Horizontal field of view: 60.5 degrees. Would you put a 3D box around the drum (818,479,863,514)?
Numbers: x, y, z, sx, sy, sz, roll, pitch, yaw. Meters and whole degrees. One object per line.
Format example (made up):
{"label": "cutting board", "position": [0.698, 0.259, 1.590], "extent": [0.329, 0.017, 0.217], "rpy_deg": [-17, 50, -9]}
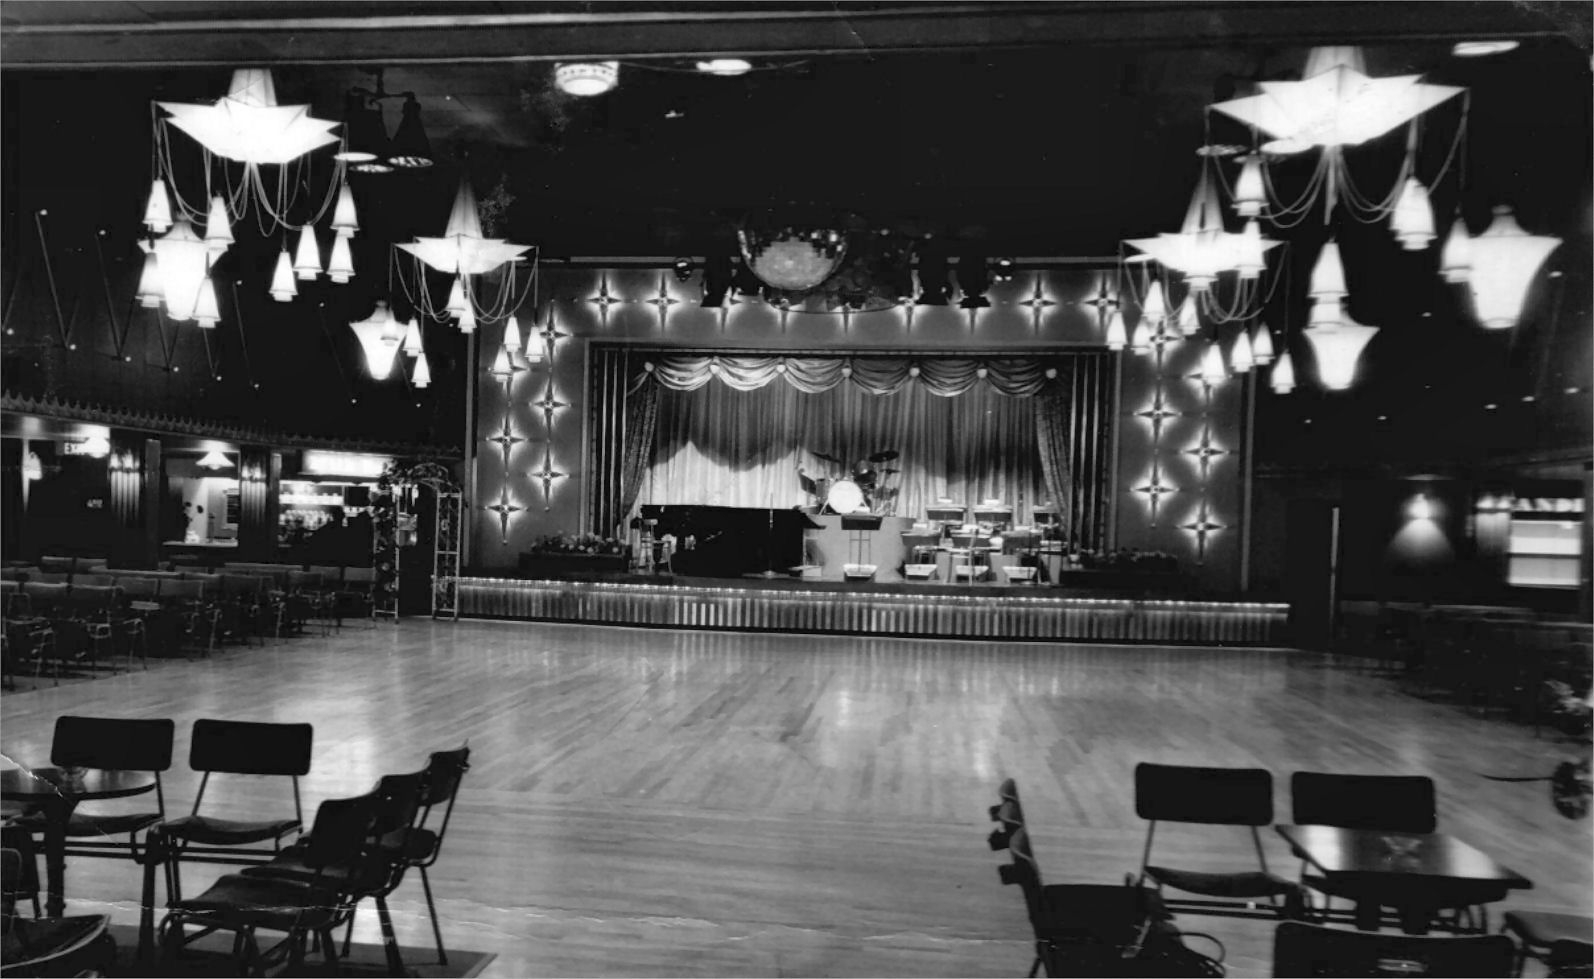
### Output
{"label": "drum", "position": [0.806, 0.081, 24.557], "extent": [0.915, 0.497, 0.923], "rpy_deg": [1, 5, 0]}

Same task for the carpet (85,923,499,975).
{"label": "carpet", "position": [-3.737, 3.426, 10.033], "extent": [2.922, 0.197, 0.490], "rpy_deg": [1, 5, 1]}

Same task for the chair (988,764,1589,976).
{"label": "chair", "position": [3.436, 2.869, 10.053], "extent": [3.568, 1.485, 2.430], "rpy_deg": [1, 5, 5]}
